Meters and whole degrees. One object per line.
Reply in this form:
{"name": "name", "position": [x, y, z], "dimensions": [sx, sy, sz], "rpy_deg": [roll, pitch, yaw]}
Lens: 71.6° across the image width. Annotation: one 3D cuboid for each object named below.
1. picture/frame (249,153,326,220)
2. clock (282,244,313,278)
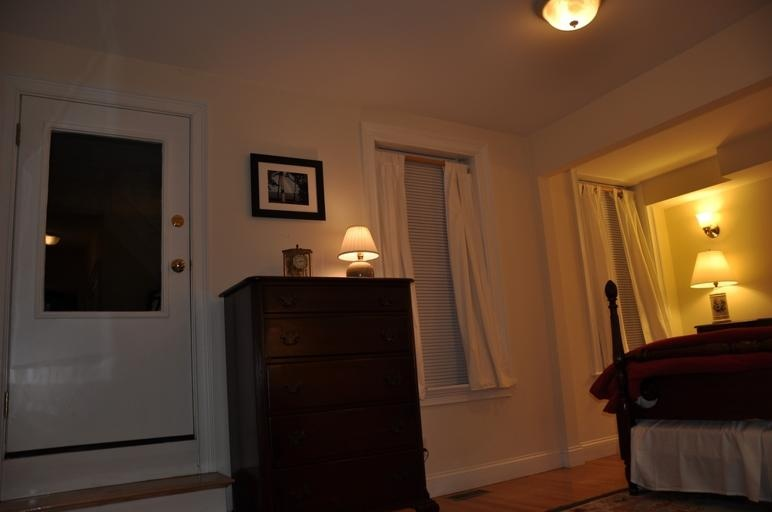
{"name": "picture/frame", "position": [-0.797, -0.534, 4.223], "dimensions": [0.544, 0.466, 0.043], "rpy_deg": [2, -12, -27]}
{"name": "clock", "position": [-0.648, 0.059, 3.930], "dimensions": [0.257, 0.322, 0.184], "rpy_deg": [5, -9, -42]}
